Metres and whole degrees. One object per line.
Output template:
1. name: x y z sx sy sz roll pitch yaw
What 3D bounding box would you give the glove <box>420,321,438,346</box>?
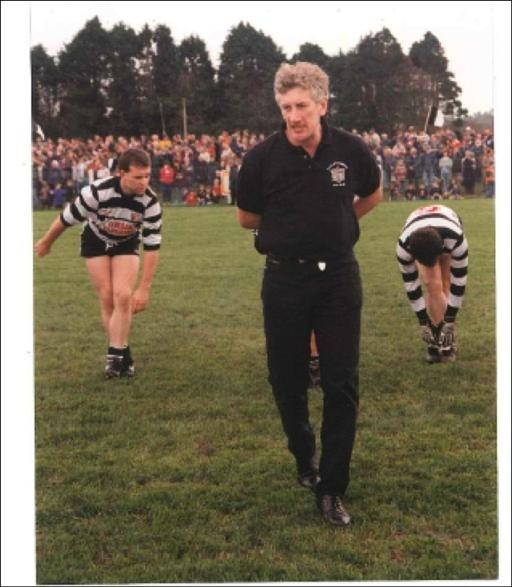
1. glove: 1.247 0.293 4.464 0.043 0.144 0.096 -1 -12 -6

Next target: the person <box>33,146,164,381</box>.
1. person: -0.957 -0.192 4.102 0.697 1.467 0.369 -5 9 -11

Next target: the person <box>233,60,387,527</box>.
1. person: 0.240 0.021 2.821 0.607 2.029 0.349 0 10 15

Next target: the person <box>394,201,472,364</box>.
1. person: 1.279 -0.089 4.505 0.479 1.081 0.465 -3 9 -5

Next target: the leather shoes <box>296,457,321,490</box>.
1. leather shoes: 0.259 0.889 3.055 0.154 0.175 0.080 0 4 42

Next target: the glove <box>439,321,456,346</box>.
1. glove: 1.370 0.294 4.427 0.100 0.160 0.052 -2 -7 5

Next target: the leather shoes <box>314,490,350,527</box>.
1. leather shoes: 0.356 0.987 2.817 0.084 0.079 0.187 -13 34 -10

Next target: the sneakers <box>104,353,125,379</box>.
1. sneakers: -0.926 0.485 4.080 0.188 0.216 0.079 0 5 -14
